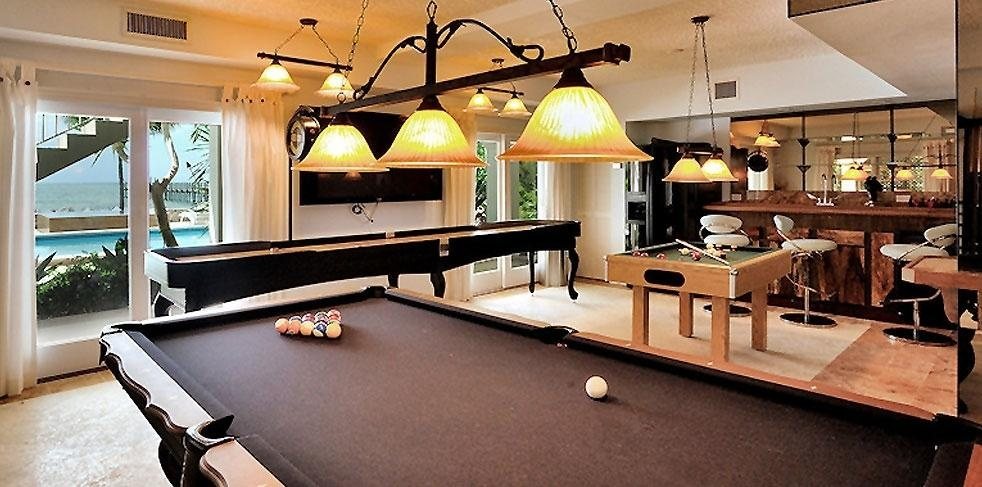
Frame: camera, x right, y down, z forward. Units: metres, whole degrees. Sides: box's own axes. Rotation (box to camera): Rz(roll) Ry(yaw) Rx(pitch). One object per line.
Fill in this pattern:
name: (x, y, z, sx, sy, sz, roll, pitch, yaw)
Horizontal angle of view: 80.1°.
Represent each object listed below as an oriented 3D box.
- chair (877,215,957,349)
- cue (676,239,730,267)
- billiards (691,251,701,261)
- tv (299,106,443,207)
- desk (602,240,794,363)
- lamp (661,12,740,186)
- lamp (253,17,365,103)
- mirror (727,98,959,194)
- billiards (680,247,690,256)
chair: (5.847, 0.571, 7.904, 1.090, 1.455, 1.033, 5, 0, 29)
cue: (2.626, 0.093, 7.271, 0.169, 0.077, 1.087, 8, 5, -26)
billiards: (2.510, 0.150, 7.087, 0.100, 0.080, 0.113, -1, 3, -1)
tv: (-1.433, -0.997, 6.533, 1.826, 0.877, 0.167, -2, 7, -31)
desk: (2.461, 0.743, 7.458, 1.879, 1.142, 1.993, -2, 2, -34)
lamp: (3.035, -1.891, 8.375, 0.829, 2.053, 3.270, 1, 7, 21)
lamp: (-2.150, -2.213, 6.856, 0.485, 0.732, 1.328, 21, 20, 35)
mirror: (5.633, -1.556, 9.085, 2.229, 1.074, 0.312, 0, 1, 31)
billiards: (2.479, 0.091, 7.416, 0.090, 0.051, 0.108, -3, 8, -2)
